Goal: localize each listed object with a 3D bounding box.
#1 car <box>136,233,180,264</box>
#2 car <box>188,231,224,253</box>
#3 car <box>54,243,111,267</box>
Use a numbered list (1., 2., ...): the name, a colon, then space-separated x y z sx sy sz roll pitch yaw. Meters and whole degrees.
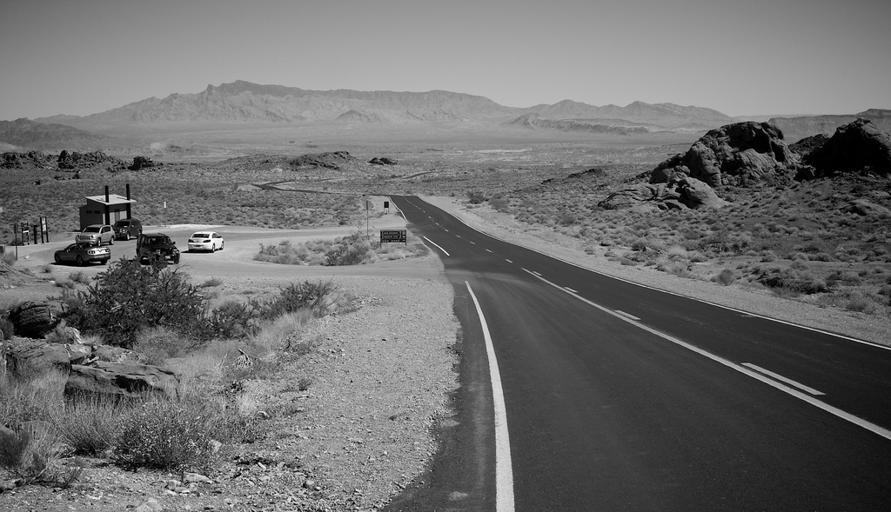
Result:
1. car: -17.534 -0.401 36.865 2.184 1.900 3.693 -1 2 -32
2. car: -17.553 -1.027 45.059 1.291 1.016 2.776 0 10 -2
3. car: -23.206 0.055 38.367 3.201 1.037 1.501 3 6 26
